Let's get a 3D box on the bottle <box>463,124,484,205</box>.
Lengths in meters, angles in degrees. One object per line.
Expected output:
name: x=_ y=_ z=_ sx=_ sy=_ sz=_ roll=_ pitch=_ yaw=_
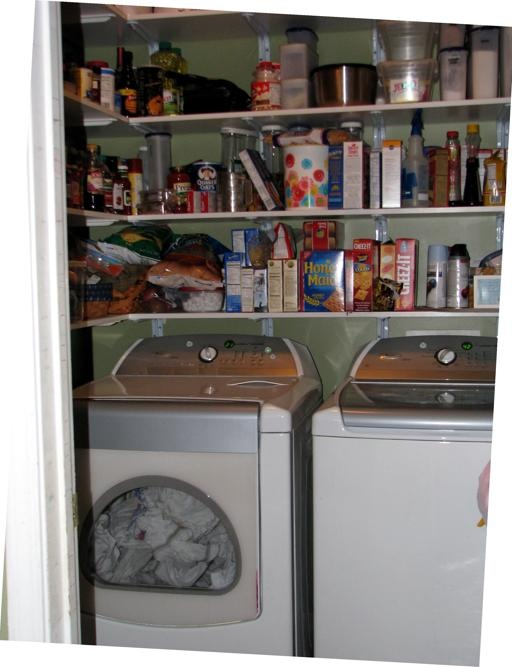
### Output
bottle: x=0.669 y=-0.519 z=1.882 sx=0.054 sy=0.256 sz=0.189 roll=1 pitch=9 yaw=20

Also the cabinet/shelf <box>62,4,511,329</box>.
cabinet/shelf: x=0.066 y=-0.536 z=2.016 sx=1.494 sy=1.127 sz=0.713 roll=-2 pitch=9 yaw=4

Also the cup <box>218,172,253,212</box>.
cup: x=-0.066 y=-0.466 z=2.003 sx=0.144 sy=0.141 sz=0.132 roll=0 pitch=8 yaw=0

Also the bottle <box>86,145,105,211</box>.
bottle: x=-0.514 y=-0.491 z=1.928 sx=0.051 sy=0.209 sz=0.092 roll=-4 pitch=9 yaw=-4

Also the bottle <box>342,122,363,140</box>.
bottle: x=0.303 y=-0.642 z=1.919 sx=0.064 sy=0.055 sz=0.061 roll=1 pitch=8 yaw=8

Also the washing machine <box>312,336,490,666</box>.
washing machine: x=0.387 y=0.417 z=1.525 sx=0.382 sy=0.582 sz=0.540 roll=1 pitch=9 yaw=20

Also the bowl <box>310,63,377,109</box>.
bowl: x=0.272 y=-0.710 z=1.819 sx=0.161 sy=0.058 sz=0.159 roll=-1 pitch=8 yaw=0

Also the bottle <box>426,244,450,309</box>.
bottle: x=0.572 y=-0.176 z=1.900 sx=0.071 sy=0.193 sz=0.090 roll=-1 pitch=9 yaw=9

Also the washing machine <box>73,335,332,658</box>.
washing machine: x=-0.138 y=0.446 z=1.669 sx=0.618 sy=0.798 sz=0.656 roll=-2 pitch=9 yaw=5

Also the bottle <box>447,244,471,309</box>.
bottle: x=0.623 y=-0.175 z=1.873 sx=0.066 sy=0.194 sz=0.129 roll=0 pitch=9 yaw=18
